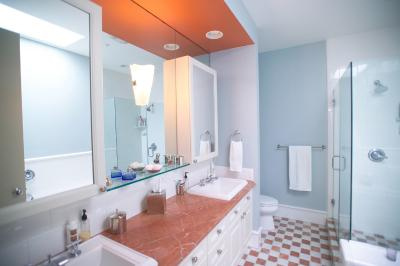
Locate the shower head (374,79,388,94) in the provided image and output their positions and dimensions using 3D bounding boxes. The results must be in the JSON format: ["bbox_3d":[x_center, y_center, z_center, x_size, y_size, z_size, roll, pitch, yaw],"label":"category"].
[{"bbox_3d":[2.406,-0.626,3.618,0.189,0.175,0.119,-2,8,36],"label":"shower head"}]

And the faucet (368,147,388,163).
[{"bbox_3d":[2.366,0.284,3.597,0.211,0.203,0.067,-1,2,25],"label":"faucet"}]

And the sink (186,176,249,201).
[{"bbox_3d":[0.248,0.703,3.461,0.606,0.176,0.775,-1,2,25],"label":"sink"}]

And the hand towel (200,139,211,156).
[{"bbox_3d":[0.057,0.174,3.426,0.148,0.245,0.192,0,3,7],"label":"hand towel"}]

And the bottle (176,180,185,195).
[{"bbox_3d":[-0.227,0.672,3.302,0.134,0.164,0.139,-2,-5,12],"label":"bottle"}]

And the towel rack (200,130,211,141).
[{"bbox_3d":[0.056,0.021,3.423,0.133,0.147,0.040,4,-7,-39],"label":"towel rack"}]

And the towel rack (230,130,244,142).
[{"bbox_3d":[0.515,0.031,3.740,0.161,0.154,0.064,5,2,17],"label":"towel rack"}]

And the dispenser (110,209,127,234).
[{"bbox_3d":[-0.766,0.811,2.513,0.145,0.225,0.084,-2,2,-17],"label":"dispenser"}]

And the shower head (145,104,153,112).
[{"bbox_3d":[-0.529,-0.262,2.795,0.016,0.077,0.116,-1,2,24],"label":"shower head"}]

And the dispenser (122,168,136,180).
[{"bbox_3d":[-0.675,0.388,2.561,0.104,0.091,0.103,-1,0,-31],"label":"dispenser"}]

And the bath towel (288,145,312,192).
[{"bbox_3d":[1.562,0.527,4.230,0.452,0.875,0.226,0,1,24],"label":"bath towel"}]

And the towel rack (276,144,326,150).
[{"bbox_3d":[1.620,0.210,4.255,0.554,0.097,0.042,-3,-2,21],"label":"towel rack"}]

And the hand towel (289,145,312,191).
[{"bbox_3d":[1.561,0.537,4.243,0.313,0.685,0.107,-1,2,18],"label":"hand towel"}]
